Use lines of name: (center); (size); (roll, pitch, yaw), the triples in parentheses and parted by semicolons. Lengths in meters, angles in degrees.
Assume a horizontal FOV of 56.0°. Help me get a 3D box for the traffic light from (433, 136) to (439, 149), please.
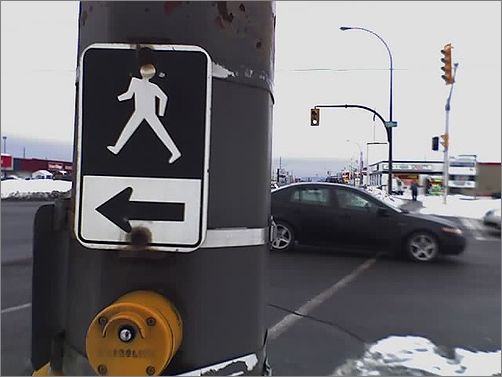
traffic light: (10.682, -2.576, 27.431); (0.300, 0.763, 0.843); (3, 3, 16)

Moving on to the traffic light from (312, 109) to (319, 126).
traffic light: (3.443, -3.872, 25.570); (0.423, 0.883, 0.420); (3, 3, 21)

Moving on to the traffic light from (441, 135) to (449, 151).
traffic light: (10.417, -2.471, 25.450); (0.315, 0.975, 1.482); (3, 3, 21)
